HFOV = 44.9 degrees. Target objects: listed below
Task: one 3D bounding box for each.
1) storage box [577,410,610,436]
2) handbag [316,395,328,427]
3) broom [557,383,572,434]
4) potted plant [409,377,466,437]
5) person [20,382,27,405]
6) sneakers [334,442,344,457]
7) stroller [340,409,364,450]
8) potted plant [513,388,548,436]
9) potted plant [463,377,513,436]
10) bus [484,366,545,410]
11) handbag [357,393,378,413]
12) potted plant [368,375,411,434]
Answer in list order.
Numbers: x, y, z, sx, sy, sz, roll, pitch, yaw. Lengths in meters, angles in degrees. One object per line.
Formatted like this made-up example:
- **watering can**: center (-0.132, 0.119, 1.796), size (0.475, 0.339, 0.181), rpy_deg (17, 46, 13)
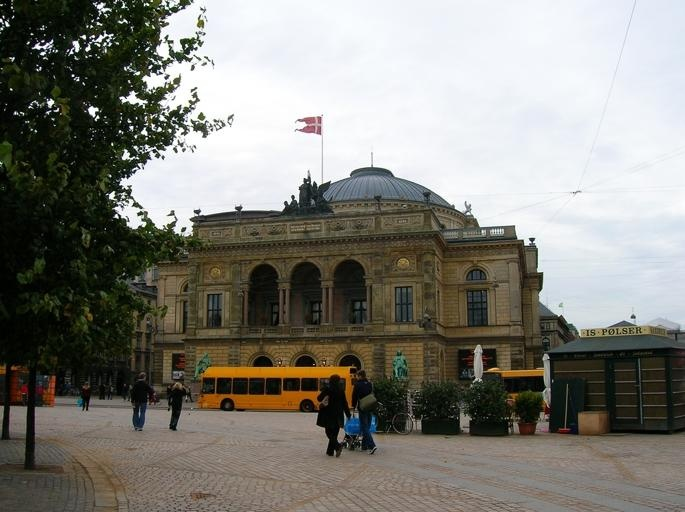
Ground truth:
- **storage box**: center (8.262, 5.394, 27.210), size (0.697, 0.866, 1.315), rpy_deg (-5, -7, 31)
- **handbag**: center (-0.494, 3.935, 20.943), size (0.250, 0.755, 0.372), rpy_deg (1, -12, -3)
- **broom**: center (7.469, 5.118, 27.738), size (0.306, 1.579, 0.526), rpy_deg (5, -13, -18)
- **potted plant**: center (3.191, 5.314, 28.427), size (1.785, 1.696, 1.367), rpy_deg (7, -17, -22)
- **person**: center (-17.907, 7.831, 46.719), size (0.298, 1.167, 1.255), rpy_deg (6, -13, -23)
- **sneakers**: center (-0.042, 4.927, 20.896), size (0.175, 0.483, 0.220), rpy_deg (2, -2, -28)
- **stroller**: center (0.397, 4.749, 22.456), size (0.617, 0.721, 0.622), rpy_deg (4, -11, -18)
- **potted plant**: center (6.280, 5.299, 28.260), size (1.423, 1.526, 1.358), rpy_deg (2, -15, -4)
- **potted plant**: center (4.994, 5.135, 27.627), size (1.723, 1.792, 1.611), rpy_deg (-8, -13, 42)
- **bus**: center (10.382, 8.330, 50.701), size (2.232, 2.667, 6.356), rpy_deg (-14, -15, 36)
- **handbag**: center (0.665, 3.846, 21.653), size (0.437, 0.293, 0.400), rpy_deg (-29, -16, -18)
- **potted plant**: center (1.307, 5.233, 28.301), size (1.747, 2.309, 2.225), rpy_deg (-2, -6, 16)
